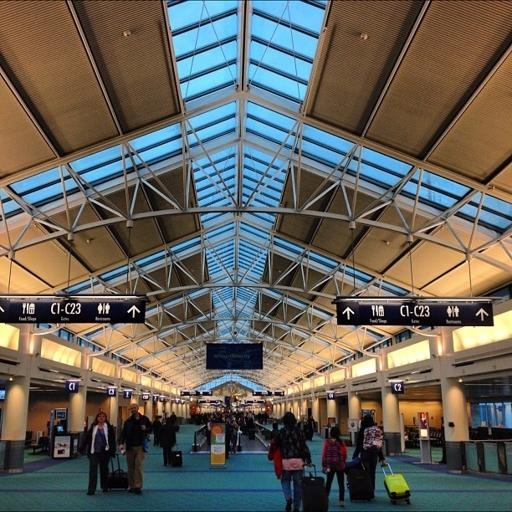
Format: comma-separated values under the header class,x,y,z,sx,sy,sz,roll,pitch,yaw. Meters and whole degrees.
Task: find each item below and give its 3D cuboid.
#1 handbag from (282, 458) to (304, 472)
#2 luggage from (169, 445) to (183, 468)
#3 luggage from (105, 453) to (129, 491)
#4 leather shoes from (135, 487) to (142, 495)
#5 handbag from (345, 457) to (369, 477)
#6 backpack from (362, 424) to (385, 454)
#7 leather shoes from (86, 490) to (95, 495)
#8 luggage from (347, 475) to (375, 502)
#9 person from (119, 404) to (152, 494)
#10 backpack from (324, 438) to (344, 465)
class,x,y,z,sx,sy,sz,roll,pitch,yaw
handbag,0.658,3.648,7.894,0.377,0.209,0.153,0,-21,-3
luggage,-3.185,8.133,18.077,0.469,0.528,0.771,6,-22,-17
luggage,-3.367,5.220,10.819,0.398,0.634,0.387,7,-27,-11
leather shoes,-2.661,5.386,10.297,0.143,0.049,0.138,19,6,41
handbag,2.175,4.542,9.656,0.443,0.389,0.344,-7,-25,12
backpack,2.587,3.977,9.856,0.462,0.523,0.250,2,-22,-8
leather shoes,-3.681,5.280,10.036,0.180,0.086,0.176,2,-21,-8
luggage,2.250,4.938,9.602,0.534,0.476,0.266,2,-22,-7
person,-2.783,4.435,10.349,0.651,1.906,1.215,4,-22,-12
backpack,1.638,4.098,9.388,0.481,0.605,0.355,3,-26,-3
